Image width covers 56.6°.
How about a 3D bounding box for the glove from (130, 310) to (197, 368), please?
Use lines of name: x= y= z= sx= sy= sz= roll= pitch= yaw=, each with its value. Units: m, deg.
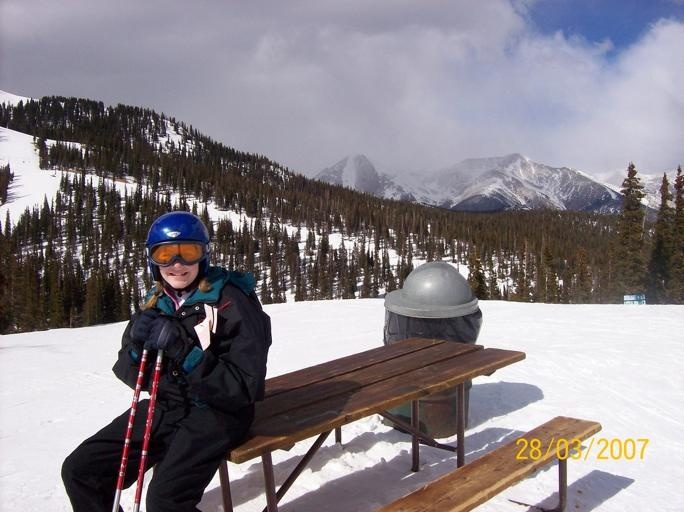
glove: x=-1.984 y=0.785 z=6.958 sx=0.478 sy=0.237 sz=0.638 roll=-4 pitch=37 yaw=-42
